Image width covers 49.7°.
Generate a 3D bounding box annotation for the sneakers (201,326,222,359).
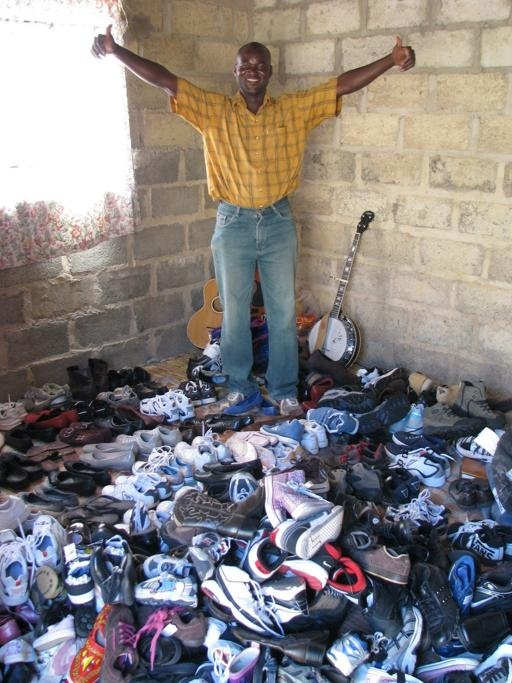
[{"bbox_3d":[-0.268,0.013,3.481,0.067,0.194,0.123,32,-32,-33],"label":"sneakers"}]
